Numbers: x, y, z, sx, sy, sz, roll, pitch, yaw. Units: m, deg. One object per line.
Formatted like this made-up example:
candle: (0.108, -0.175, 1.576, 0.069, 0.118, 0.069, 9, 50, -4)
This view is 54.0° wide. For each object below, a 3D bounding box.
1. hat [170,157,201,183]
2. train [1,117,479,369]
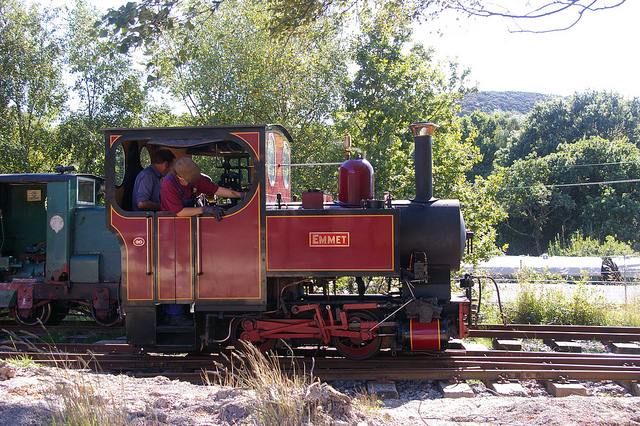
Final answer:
hat: (-2.897, -0.918, 13.679, 0.441, 0.559, 0.418, -43, -32, 16)
train: (-1.616, 0.831, 16.670, 16.749, 6.773, 4.991, -1, 1, 8)
